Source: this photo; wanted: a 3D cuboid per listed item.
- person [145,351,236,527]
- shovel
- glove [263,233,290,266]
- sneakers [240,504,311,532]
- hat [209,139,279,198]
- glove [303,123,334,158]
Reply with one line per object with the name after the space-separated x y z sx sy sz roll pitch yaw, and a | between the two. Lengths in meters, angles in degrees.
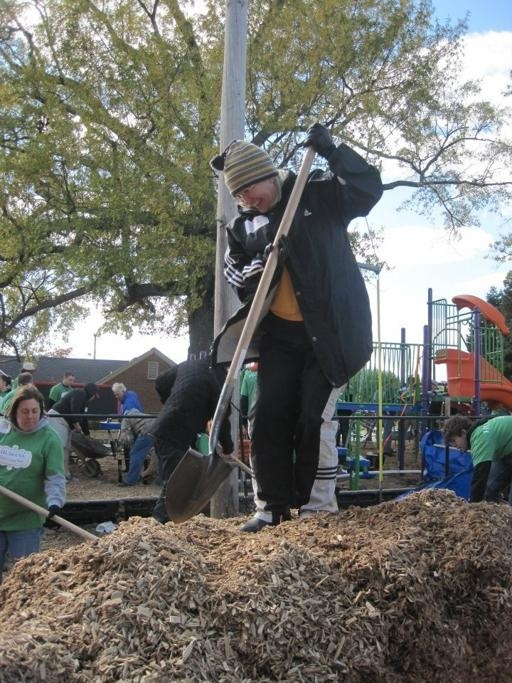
-0.439 0.538 4.840 0.494 1.167 0.369 24 16 32 | person
-0.080 -0.009 3.431 0.637 1.721 0.447 1 -4 -4 | shovel
0.107 -0.418 3.369 0.095 0.131 0.068 18 -2 39 | glove
0.076 0.795 3.402 0.352 0.156 0.120 1 -8 -12 | sneakers
-0.051 -0.817 3.455 0.293 0.254 0.219 -16 -7 -8 | hat
0.288 -0.926 3.412 0.133 0.185 0.166 1 -4 -1 | glove
